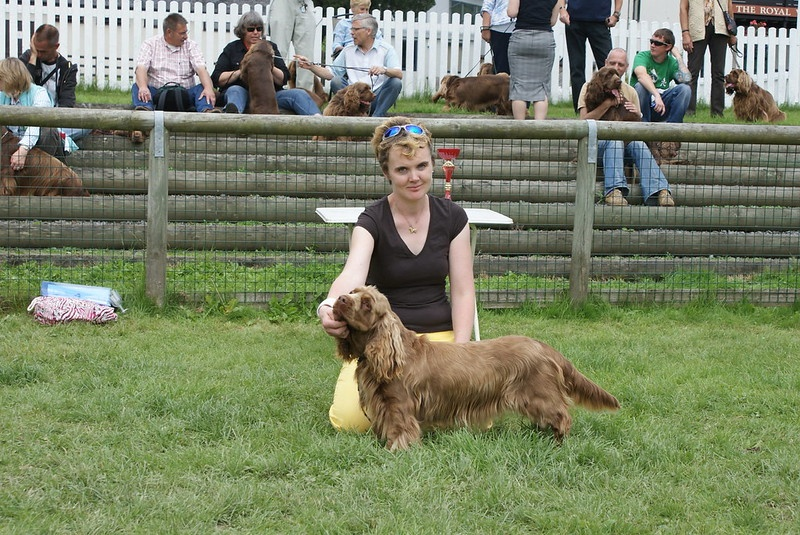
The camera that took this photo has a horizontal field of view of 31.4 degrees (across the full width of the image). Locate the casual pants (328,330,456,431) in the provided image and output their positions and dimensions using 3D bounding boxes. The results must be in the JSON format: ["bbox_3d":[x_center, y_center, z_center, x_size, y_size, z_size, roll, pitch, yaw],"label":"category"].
[{"bbox_3d":[-0.256,1.273,14.831,1.433,0.747,0.790,1,-8,38],"label":"casual pants"}]

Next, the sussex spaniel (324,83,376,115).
[{"bbox_3d":[-0.715,-2.290,20.135,0.801,0.664,0.528,7,6,42],"label":"sussex spaniel"}]

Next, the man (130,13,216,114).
[{"bbox_3d":[-3.098,-2.784,19.904,1.024,1.713,1.358,-2,19,-16],"label":"man"}]

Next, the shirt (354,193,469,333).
[{"bbox_3d":[0.198,-0.017,15.115,1.146,1.450,0.732,-3,10,1],"label":"shirt"}]

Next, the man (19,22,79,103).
[{"bbox_3d":[-4.799,-2.606,19.334,0.667,1.310,0.745,7,36,-2],"label":"man"}]

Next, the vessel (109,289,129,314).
[{"bbox_3d":[-3.344,0.395,16.850,0.070,0.267,0.181,-16,28,33],"label":"vessel"}]

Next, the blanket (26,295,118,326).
[{"bbox_3d":[-3.826,0.502,16.598,0.635,0.221,0.467,1,8,-13],"label":"blanket"}]

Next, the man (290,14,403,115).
[{"bbox_3d":[-0.659,-2.827,20.803,1.265,1.898,1.018,1,-7,7],"label":"man"}]

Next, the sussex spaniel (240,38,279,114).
[{"bbox_3d":[-1.928,-2.596,19.459,0.476,0.970,0.726,-1,7,-9],"label":"sussex spaniel"}]

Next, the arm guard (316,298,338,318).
[{"bbox_3d":[-0.729,0.347,14.393,0.067,0.215,0.186,27,-28,-11],"label":"arm guard"}]
